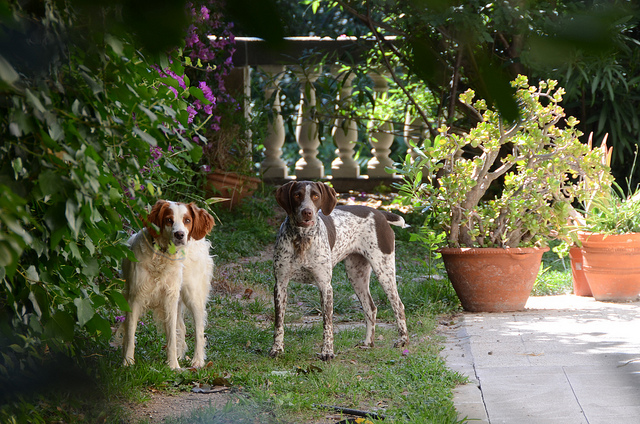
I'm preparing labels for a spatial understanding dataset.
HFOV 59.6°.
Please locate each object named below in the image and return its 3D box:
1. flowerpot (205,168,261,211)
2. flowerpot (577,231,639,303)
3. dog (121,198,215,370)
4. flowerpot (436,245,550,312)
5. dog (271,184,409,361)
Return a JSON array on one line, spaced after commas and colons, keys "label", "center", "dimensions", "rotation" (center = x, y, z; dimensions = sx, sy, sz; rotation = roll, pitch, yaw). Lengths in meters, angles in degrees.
[{"label": "flowerpot", "center": [-1.172, -0.272, 7.351], "dimensions": [0.353, 0.543, 0.836], "rotation": [3, 5, 38]}, {"label": "flowerpot", "center": [2.653, 0.521, 5.274], "dimensions": [0.604, 0.673, 0.619], "rotation": [0, -6, -2]}, {"label": "dog", "center": [-0.991, 0.473, 3.683], "dimensions": [0.579, 1.092, 1.119], "rotation": [-2, 4, -12]}, {"label": "flowerpot", "center": [1.593, 0.545, 5.182], "dimensions": [1.029, 0.649, 1.051], "rotation": [0, 5, 40]}, {"label": "dog", "center": [0.139, 0.406, 4.291], "dimensions": [0.849, 1.233, 1.251], "rotation": [1, 5, 28]}]
